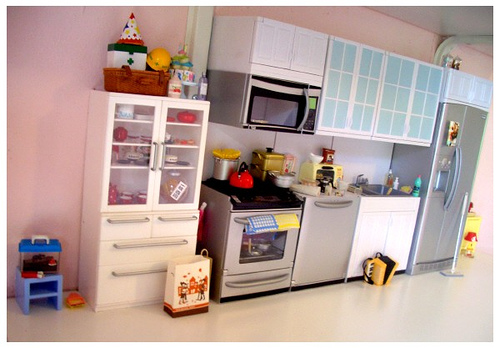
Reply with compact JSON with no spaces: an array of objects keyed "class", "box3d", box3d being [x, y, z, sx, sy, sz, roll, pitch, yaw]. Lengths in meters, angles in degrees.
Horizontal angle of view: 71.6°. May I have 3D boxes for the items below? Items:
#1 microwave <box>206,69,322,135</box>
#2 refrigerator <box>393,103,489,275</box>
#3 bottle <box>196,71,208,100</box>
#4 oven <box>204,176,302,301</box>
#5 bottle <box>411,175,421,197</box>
[{"class":"microwave","box3d":[0.182,-0.768,3.876,1.084,0.511,0.751,-3,17,-42]},{"class":"refrigerator","box3d":[2.578,0.234,5.018,1.118,2.337,0.765,0,9,-30]},{"class":"bottle","box3d":[-0.494,-0.927,3.627,0.110,0.314,0.285,3,3,-8]},{"class":"oven","box3d":[0.037,0.715,3.705,1.016,1.197,0.424,2,4,-17]},{"class":"bottle","box3d":[2.231,0.162,4.659,0.114,0.285,0.195,5,4,25]}]
